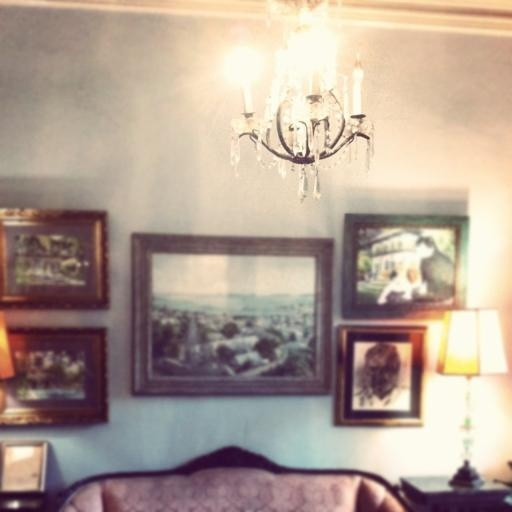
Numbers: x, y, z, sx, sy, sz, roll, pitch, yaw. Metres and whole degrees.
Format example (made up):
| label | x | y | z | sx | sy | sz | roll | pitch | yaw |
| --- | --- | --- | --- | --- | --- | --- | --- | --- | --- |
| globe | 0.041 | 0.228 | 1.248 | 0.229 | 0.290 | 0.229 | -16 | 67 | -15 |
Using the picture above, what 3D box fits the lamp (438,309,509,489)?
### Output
| label | x | y | z | sx | sy | sz | roll | pitch | yaw |
| --- | --- | --- | --- | --- | --- | --- | --- | --- | --- |
| lamp | 1.089 | 0.709 | 3.472 | 0.336 | 0.891 | 0.340 | 0 | 1 | -3 |
